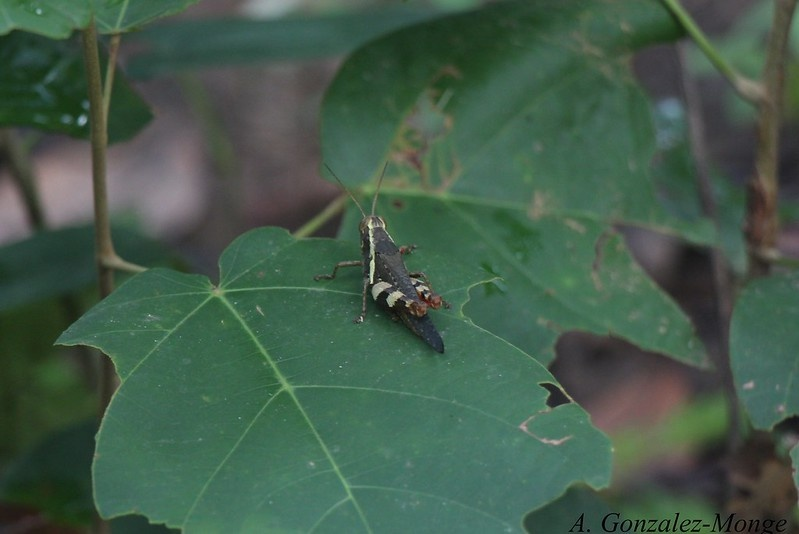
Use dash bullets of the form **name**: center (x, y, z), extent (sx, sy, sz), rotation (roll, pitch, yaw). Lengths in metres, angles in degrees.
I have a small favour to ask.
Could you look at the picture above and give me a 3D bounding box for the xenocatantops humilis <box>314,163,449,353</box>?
- **xenocatantops humilis**: center (-0.004, -0.005, 1.768), extent (0.205, 0.110, 0.298), rotation (-9, 52, -27)
